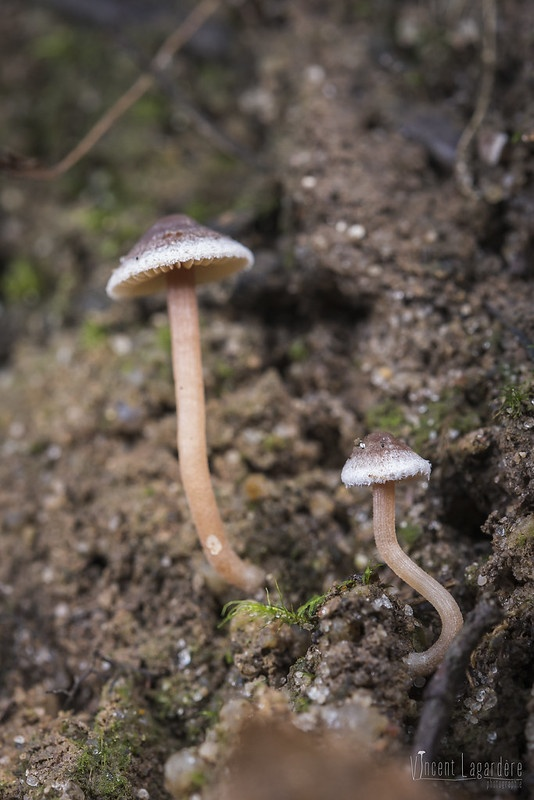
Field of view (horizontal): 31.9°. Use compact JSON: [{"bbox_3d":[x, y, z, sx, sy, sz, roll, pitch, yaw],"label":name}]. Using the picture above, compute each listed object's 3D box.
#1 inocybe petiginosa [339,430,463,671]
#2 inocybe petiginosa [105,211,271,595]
[{"bbox_3d":[0.765,0.779,5.055,0.464,1.005,1.076,-17,38,2],"label":"inocybe petiginosa"},{"bbox_3d":[-0.423,0.037,5.448,1.056,2.202,1.047,-5,-6,43],"label":"inocybe petiginosa"}]
